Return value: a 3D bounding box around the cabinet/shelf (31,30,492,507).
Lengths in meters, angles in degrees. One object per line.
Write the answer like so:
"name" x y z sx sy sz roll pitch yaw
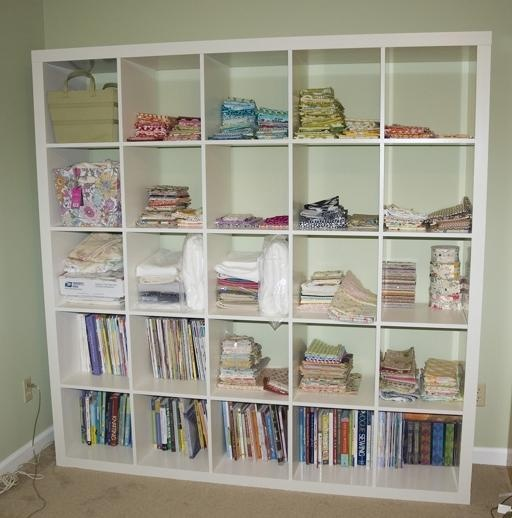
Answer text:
"cabinet/shelf" 0.073 0.057 2.771 3.033 2.238 0.721 0 -1 2

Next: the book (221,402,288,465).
"book" 0.030 0.868 3.012 0.350 0.361 0.408 1 1 10

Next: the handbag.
"handbag" -0.829 -0.772 2.830 0.443 0.346 0.246 6 15 23

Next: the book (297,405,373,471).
"book" 0.373 0.906 2.937 0.464 0.369 0.318 1 0 2
